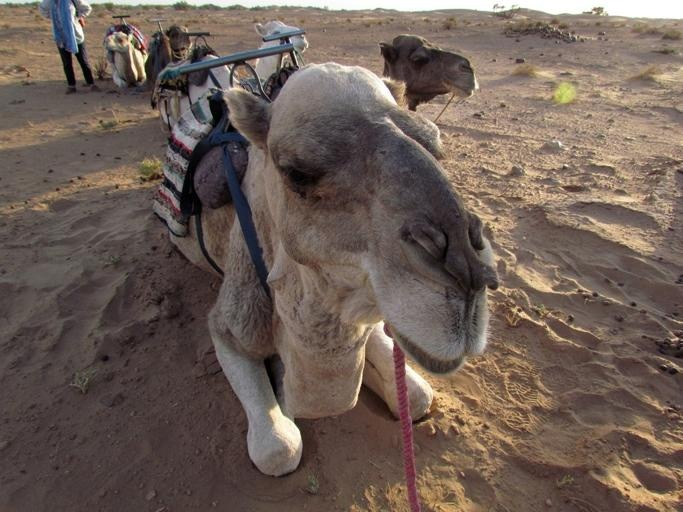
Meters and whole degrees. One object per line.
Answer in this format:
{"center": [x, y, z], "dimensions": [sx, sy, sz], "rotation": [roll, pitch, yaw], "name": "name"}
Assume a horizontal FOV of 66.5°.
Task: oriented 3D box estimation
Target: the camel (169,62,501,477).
{"center": [-0.091, 0.411, 4.158], "dimensions": [2.464, 3.429, 1.099], "rotation": [20, 36, 27], "name": "camel"}

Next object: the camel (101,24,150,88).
{"center": [-6.252, -5.701, 15.280], "dimensions": [1.129, 1.873, 2.065], "rotation": [-9, 34, -18], "name": "camel"}
